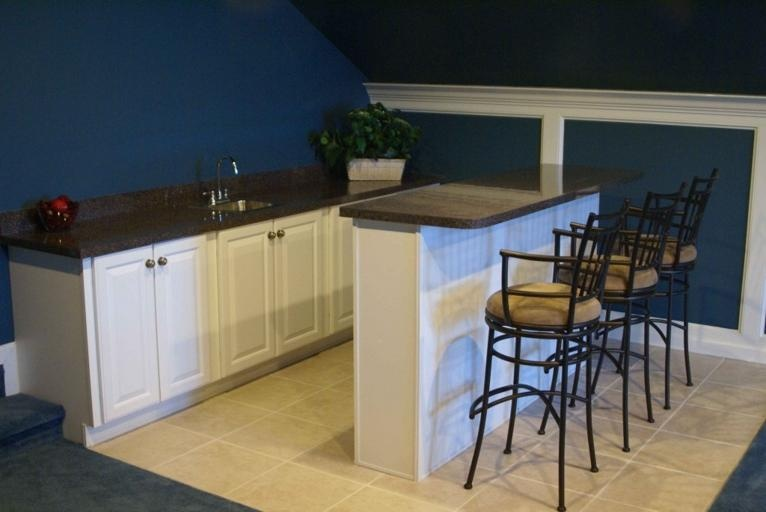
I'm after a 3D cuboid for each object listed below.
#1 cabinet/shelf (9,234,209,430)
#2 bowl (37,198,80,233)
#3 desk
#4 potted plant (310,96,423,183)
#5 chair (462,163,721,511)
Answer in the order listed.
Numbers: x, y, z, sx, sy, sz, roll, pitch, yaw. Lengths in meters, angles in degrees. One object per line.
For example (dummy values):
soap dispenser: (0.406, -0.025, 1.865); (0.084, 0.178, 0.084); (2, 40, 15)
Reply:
cabinet/shelf: (-1.692, 0.439, 3.843); (0.883, 1.132, 1.019); (6, 13, 24)
bowl: (-2.009, -0.259, 3.997); (0.241, 0.171, 0.238); (-4, -3, 0)
desk: (0.662, 0.443, 3.718); (0.682, 1.105, 1.913); (7, 13, 37)
potted plant: (-0.115, -1.006, 5.705); (0.802, 0.568, 0.880); (5, 16, 17)
chair: (1.246, 0.515, 3.880); (0.707, 1.285, 1.934); (11, 17, 38)
